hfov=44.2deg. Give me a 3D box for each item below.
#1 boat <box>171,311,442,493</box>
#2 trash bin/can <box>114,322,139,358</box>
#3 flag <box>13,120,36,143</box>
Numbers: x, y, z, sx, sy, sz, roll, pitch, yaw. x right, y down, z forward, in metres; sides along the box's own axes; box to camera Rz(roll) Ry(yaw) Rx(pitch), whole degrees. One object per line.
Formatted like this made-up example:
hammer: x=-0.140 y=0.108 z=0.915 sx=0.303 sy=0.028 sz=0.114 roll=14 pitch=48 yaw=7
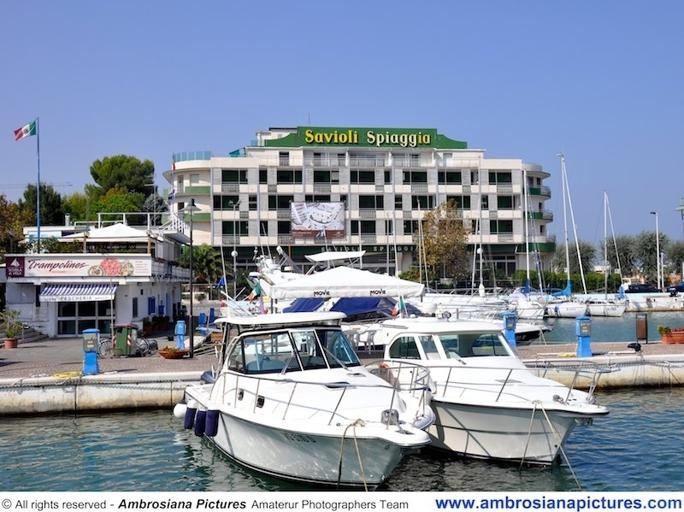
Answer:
boat: x=-0.935 y=3.864 z=22.663 sx=3.697 sy=2.636 sz=6.828 roll=-1 pitch=4 yaw=-32
trash bin/can: x=-8.698 y=3.386 z=33.878 sx=1.140 sy=1.534 sz=1.171 roll=3 pitch=-5 yaw=-27
flag: x=-18.821 y=-7.519 z=50.227 sx=1.170 sy=1.177 sz=2.321 roll=-1 pitch=-2 yaw=-19
